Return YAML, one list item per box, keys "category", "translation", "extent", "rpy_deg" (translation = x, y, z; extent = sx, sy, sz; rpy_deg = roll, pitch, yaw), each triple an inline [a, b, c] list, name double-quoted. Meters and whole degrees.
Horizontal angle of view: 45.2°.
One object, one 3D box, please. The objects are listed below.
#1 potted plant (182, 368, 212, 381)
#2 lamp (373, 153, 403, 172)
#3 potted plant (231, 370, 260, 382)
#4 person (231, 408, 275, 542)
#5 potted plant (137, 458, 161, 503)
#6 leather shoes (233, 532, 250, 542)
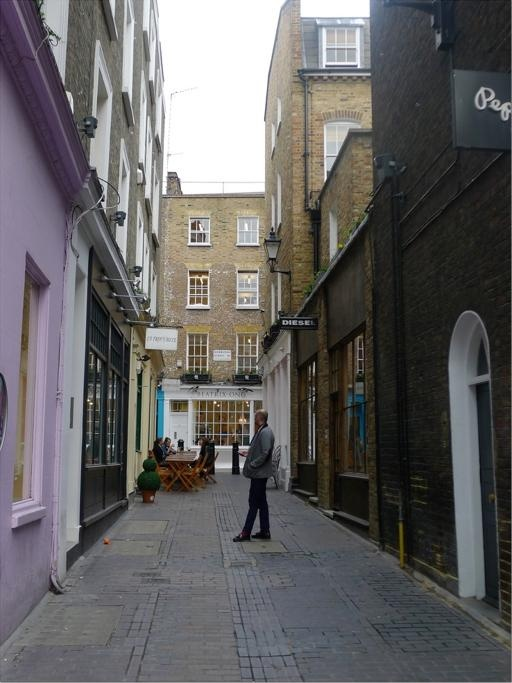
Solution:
- category: "potted plant"
  translation: [-3.290, 1.901, 33.977]
  extent: [1.538, 0.766, 0.505]
  rpy_deg: [0, -6, 2]
- category: "lamp"
  translation: [1.659, -2.266, 7.823]
  extent: [0.235, 0.167, 0.214]
  rpy_deg: [3, -7, -12]
- category: "potted plant"
  translation: [-0.537, 1.975, 34.136]
  extent: [1.475, 0.619, 0.327]
  rpy_deg: [-1, -6, 9]
- category: "person"
  translation: [-0.016, 2.024, 9.517]
  extent: [0.522, 1.984, 1.108]
  rpy_deg: [0, -6, 2]
- category: "potted plant"
  translation: [-2.545, 3.272, 14.611]
  extent: [0.464, 1.018, 1.437]
  rpy_deg: [1, -8, -10]
- category: "leather shoes"
  translation: [-0.215, 2.895, 9.122]
  extent: [0.278, 0.171, 0.106]
  rpy_deg: [15, -21, -32]
